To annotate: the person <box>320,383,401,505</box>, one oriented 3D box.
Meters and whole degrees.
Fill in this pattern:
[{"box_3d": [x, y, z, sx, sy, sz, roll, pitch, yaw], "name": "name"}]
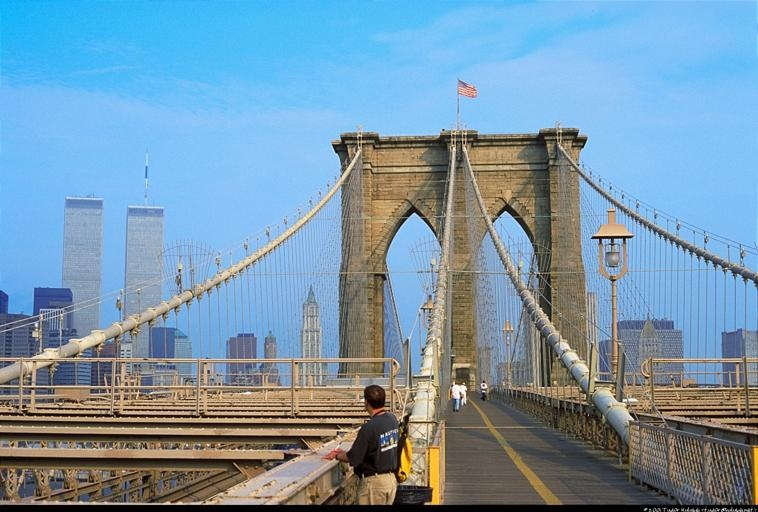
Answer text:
[{"box_3d": [-0.216, 3.623, 30.319, 1.193, 2.282, 0.512, -1, -5, -2], "name": "person"}]
